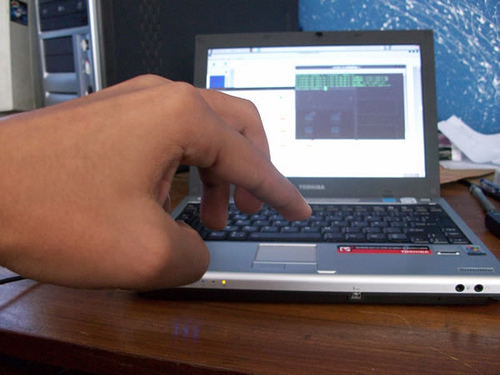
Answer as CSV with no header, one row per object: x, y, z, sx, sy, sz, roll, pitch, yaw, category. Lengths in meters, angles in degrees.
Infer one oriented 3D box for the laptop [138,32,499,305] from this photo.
0.127,0.014,0.647,0.411,0.299,0.396,1,13,6,laptop
